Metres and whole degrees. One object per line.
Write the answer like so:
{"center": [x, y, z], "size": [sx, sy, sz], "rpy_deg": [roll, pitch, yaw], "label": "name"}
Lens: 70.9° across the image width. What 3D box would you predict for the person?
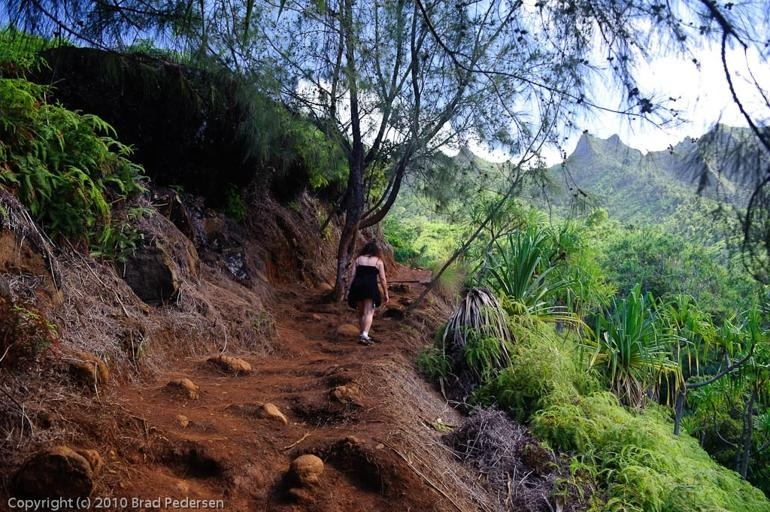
{"center": [-0.296, 0.556, 8.312], "size": [0.530, 1.714, 0.514], "rpy_deg": [-1, -25, 9], "label": "person"}
